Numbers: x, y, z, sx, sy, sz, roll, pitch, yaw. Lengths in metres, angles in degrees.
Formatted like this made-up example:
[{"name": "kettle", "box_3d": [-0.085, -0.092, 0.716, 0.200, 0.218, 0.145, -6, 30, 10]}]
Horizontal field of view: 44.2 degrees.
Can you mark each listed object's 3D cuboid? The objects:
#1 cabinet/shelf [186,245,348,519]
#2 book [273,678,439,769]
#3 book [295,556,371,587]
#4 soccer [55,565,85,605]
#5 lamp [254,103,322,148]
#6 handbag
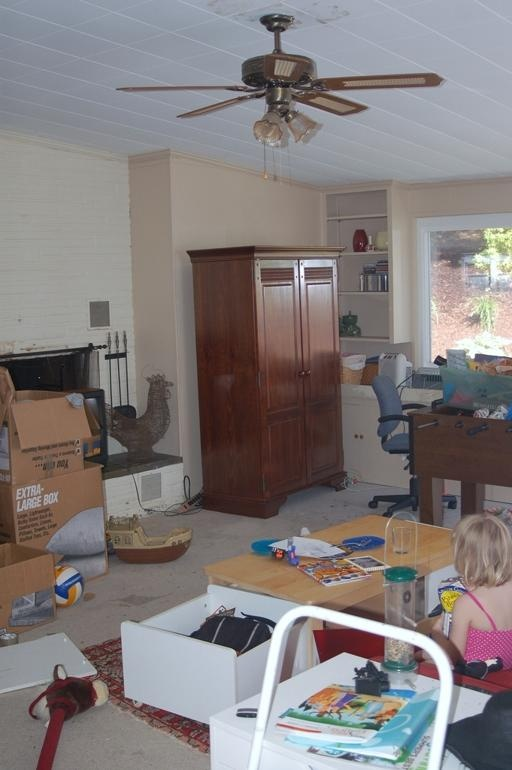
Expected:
[{"name": "cabinet/shelf", "box_3d": [0.178, -0.060, 5.496, 1.304, 2.269, 0.691, -6, 4, -32]}, {"name": "book", "box_3d": [0.163, 0.577, 1.096, 0.252, 0.049, 0.236, -2, 4, 27]}, {"name": "book", "box_3d": [0.299, 0.732, 2.513, 0.225, 0.010, 0.325, -5, 4, -20]}, {"name": "soccer", "box_3d": [-1.105, 1.186, 3.723, 0.154, 0.152, 0.171, -5, 4, -18]}, {"name": "lamp", "box_3d": [0.124, -1.027, 2.484, 0.214, 0.233, 0.161, -2, -37, -7]}, {"name": "handbag", "box_3d": [-0.079, 0.897, 2.288, 0.187, 0.060, 0.144, -2, 9, -6]}]
